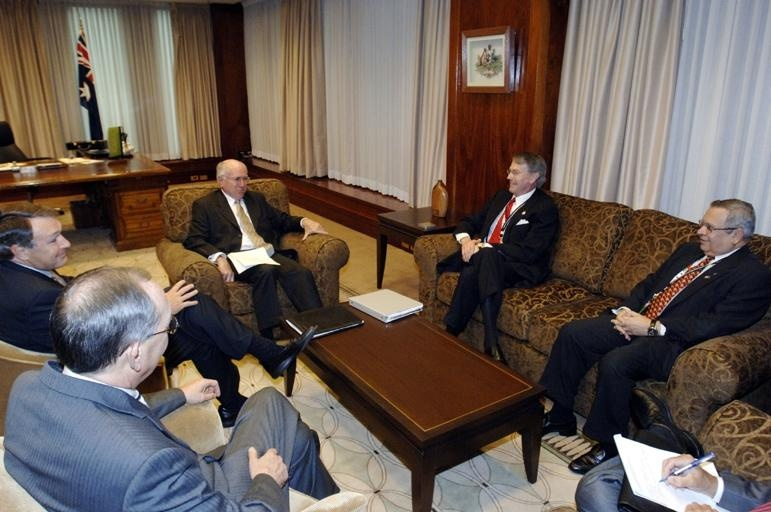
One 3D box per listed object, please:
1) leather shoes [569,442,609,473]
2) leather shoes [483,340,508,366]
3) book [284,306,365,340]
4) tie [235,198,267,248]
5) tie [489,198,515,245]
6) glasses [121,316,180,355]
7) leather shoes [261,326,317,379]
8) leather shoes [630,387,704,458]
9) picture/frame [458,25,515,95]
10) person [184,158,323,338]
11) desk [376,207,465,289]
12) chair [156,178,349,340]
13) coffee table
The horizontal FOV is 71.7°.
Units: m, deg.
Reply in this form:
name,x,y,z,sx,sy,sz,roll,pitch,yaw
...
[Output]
name,x,y,z,sx,sy,sz,roll,pitch,yaw
leather shoes,1.108,1.090,2.890,0.248,0.104,0.078,-30,42,-8
leather shoes,0.706,0.610,3.392,0.084,0.169,0.237,-10,17,-16
book,-0.368,0.393,3.288,0.239,0.036,0.235,-11,19,-30
tie,-1.067,-0.234,4.211,0.126,0.570,0.079,-20,-7,-17
tie,0.898,-0.257,4.067,0.059,0.093,0.369,24,70,5
glasses,-0.930,0.313,2.137,0.199,0.064,0.197,-12,13,-28
leather shoes,-0.581,0.598,3.290,0.417,0.178,0.128,-47,13,-4
leather shoes,1.307,0.809,2.496,0.261,0.102,0.267,25,17,26
picture/frame,0.877,-1.678,4.511,0.041,0.574,0.563,-13,19,-37
person,-0.922,-0.117,4.033,1.244,0.809,0.759,32,30,27
desk,0.202,-0.252,4.711,0.661,0.832,0.743,-10,19,-32
chair,-1.053,0.176,4.153,1.248,1.118,1.232,-12,21,-32
coffee table,0.289,0.698,2.806,0.740,0.501,1.292,-12,25,-30
